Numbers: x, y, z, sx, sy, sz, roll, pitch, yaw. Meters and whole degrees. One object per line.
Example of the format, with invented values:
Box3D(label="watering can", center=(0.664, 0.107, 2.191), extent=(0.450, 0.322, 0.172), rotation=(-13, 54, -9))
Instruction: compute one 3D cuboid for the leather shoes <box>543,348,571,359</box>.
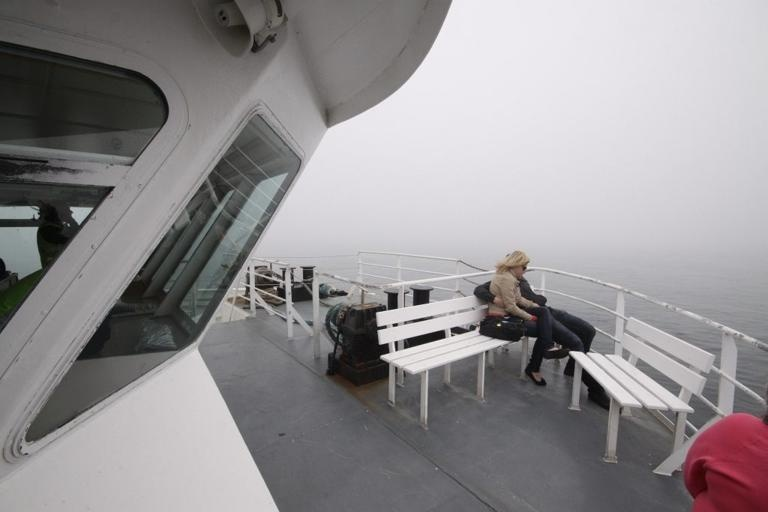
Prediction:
Box3D(label="leather shoes", center=(1.799, 1.025, 4.458), extent=(0.290, 0.111, 0.106), rotation=(-13, -21, 38))

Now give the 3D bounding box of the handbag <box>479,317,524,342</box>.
Box3D(label="handbag", center=(1.285, 0.769, 4.590), extent=(0.363, 0.132, 0.261), rotation=(1, -6, 31))

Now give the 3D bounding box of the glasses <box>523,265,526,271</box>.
Box3D(label="glasses", center=(1.603, 0.126, 4.828), extent=(0.046, 0.061, 0.060), rotation=(4, 18, 10))
